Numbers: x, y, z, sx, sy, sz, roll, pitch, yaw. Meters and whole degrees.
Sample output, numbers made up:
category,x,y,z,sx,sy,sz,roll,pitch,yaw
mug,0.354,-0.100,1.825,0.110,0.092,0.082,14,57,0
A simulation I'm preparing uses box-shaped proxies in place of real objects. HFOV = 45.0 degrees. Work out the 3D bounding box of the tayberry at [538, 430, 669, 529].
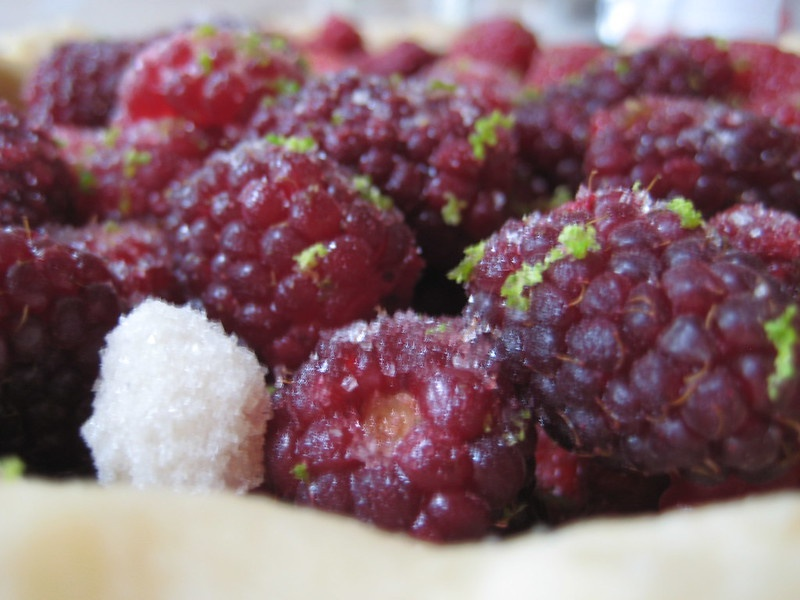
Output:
category,x,y,z,sx,sy,sz,roll,pitch,yaw
tayberry,0.185,0.156,0.839,0.053,0.076,0.027,7,42,4
